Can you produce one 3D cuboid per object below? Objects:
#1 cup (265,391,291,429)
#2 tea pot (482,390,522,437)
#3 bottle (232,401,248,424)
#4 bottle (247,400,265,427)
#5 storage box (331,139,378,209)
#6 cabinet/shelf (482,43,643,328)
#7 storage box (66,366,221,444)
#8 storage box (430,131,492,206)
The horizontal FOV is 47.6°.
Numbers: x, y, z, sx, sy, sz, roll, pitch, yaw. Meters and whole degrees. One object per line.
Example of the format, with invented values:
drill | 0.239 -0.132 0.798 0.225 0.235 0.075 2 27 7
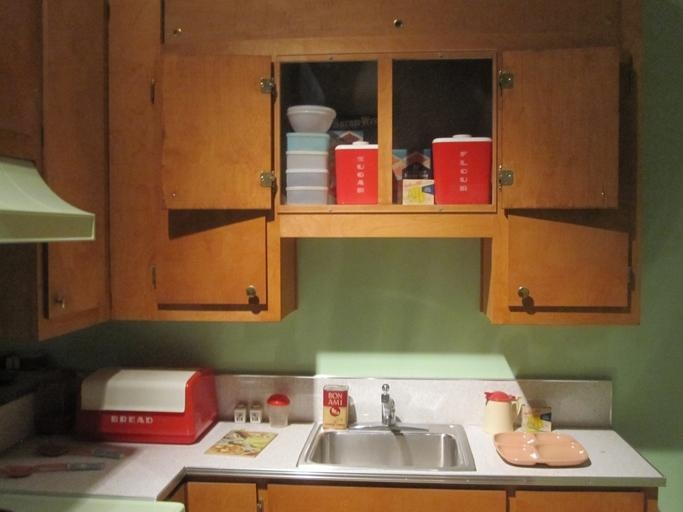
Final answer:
cup | -0.289 0.690 3.479 0.106 0.148 0.144 0 1 -6
tea pot | 0.692 0.681 3.344 0.167 0.190 0.144 0 -1 13
bottle | -0.455 0.711 3.497 0.067 0.107 0.072 0 2 0
bottle | -0.392 0.710 3.515 0.070 0.091 0.068 0 1 0
storage box | 0.062 -0.344 3.259 0.244 0.280 0.251 1 2 37
cabinet/shelf | 0.956 -0.360 3.317 0.596 1.209 0.616 0 20 15
storage box | -0.852 0.646 3.388 0.562 0.298 0.254 0 1 0
storage box | 0.494 -0.305 3.212 0.249 0.372 0.190 2 -28 5
